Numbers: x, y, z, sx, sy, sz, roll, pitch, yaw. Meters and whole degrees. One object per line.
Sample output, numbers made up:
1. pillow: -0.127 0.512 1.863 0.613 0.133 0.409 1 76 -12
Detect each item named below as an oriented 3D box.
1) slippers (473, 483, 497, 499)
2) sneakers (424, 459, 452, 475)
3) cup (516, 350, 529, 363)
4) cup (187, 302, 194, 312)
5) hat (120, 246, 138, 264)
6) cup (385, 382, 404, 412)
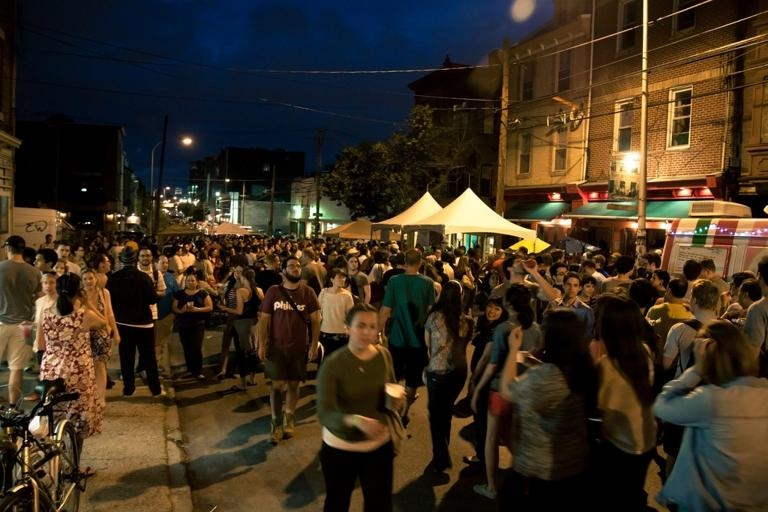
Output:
1. slippers: 1.204 2.794 7.115 0.246 0.096 0.135 13 -4 45
2. sneakers: 0.692 2.711 7.678 0.336 0.135 0.281 7 11 23
3. cup: 1.371 1.001 5.966 0.121 0.124 0.127 8 5 -1
4. cup: -3.420 0.895 10.486 0.134 0.178 0.179 0 1 -36
5. hat: -4.112 0.005 9.581 0.202 0.112 0.281 2 37 -52
6. cup: 0.106 1.380 5.735 0.192 0.278 0.211 2 10 0
